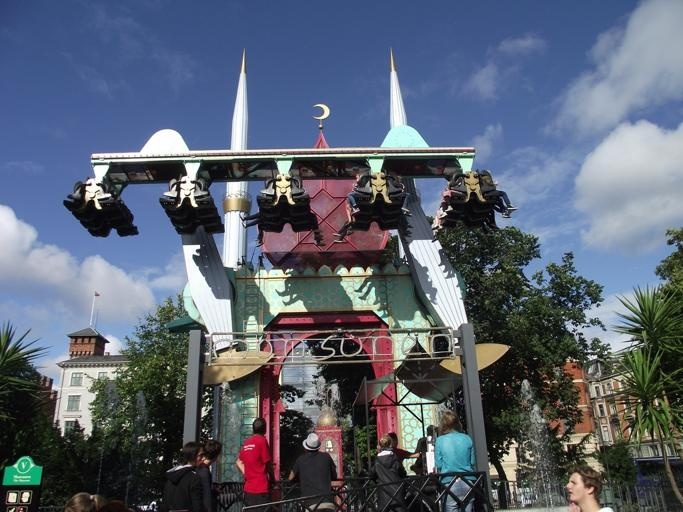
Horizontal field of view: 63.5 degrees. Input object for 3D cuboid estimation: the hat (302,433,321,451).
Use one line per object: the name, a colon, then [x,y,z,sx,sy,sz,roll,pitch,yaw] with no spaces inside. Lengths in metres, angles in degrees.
hat: [-0.607,3.706,11.122,0.333,0.167,0.400,8,-13,-10]
